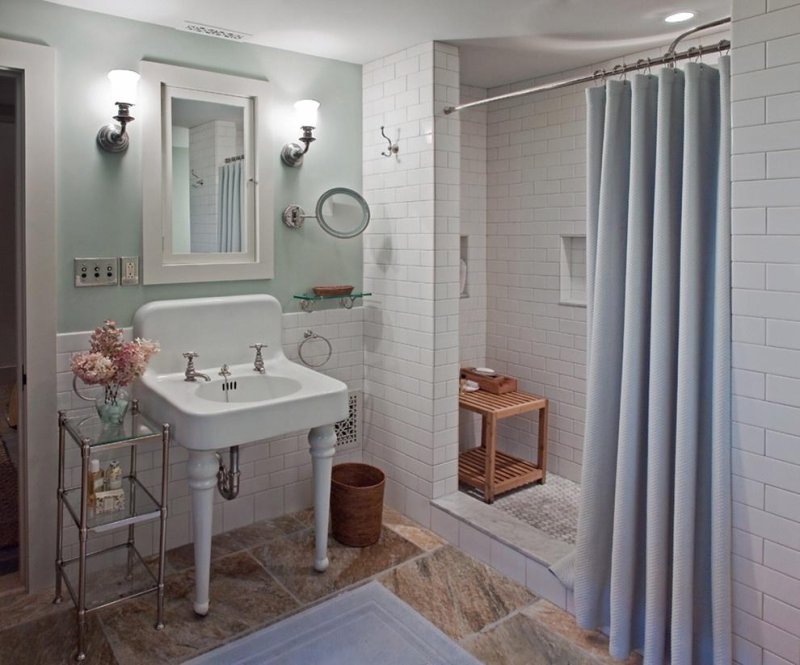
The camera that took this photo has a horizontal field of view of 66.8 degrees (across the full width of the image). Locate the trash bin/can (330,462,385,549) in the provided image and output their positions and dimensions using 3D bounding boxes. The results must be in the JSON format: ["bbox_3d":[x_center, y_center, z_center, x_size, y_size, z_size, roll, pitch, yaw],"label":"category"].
[{"bbox_3d":[-0.224,0.931,3.281,0.326,0.378,0.353,1,5,-1],"label":"trash bin/can"}]

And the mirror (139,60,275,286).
[{"bbox_3d":[-0.968,-0.783,3.047,0.713,1.037,0.241,-6,15,-25],"label":"mirror"}]

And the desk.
[{"bbox_3d":[0.557,0.685,3.851,0.591,0.571,0.609,8,12,40],"label":"desk"}]

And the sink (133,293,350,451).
[{"bbox_3d":[-0.827,0.191,2.877,0.820,0.551,0.859,-5,10,-38],"label":"sink"}]

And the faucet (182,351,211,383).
[{"bbox_3d":[-1.015,0.169,2.936,0.195,0.151,0.104,7,7,41],"label":"faucet"}]

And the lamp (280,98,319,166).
[{"bbox_3d":[-0.547,-1.080,3.291,0.221,0.349,0.262,-1,14,-8],"label":"lamp"}]

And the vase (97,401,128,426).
[{"bbox_3d":[-1.191,0.329,2.495,0.102,0.087,0.105,-4,-3,26],"label":"vase"}]

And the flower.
[{"bbox_3d":[-1.210,0.136,2.570,0.237,0.332,0.342,1,24,-10],"label":"flower"}]

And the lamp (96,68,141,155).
[{"bbox_3d":[-1.279,-0.982,2.720,0.189,0.353,0.190,-7,16,-27],"label":"lamp"}]

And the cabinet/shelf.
[{"bbox_3d":[-1.269,0.752,2.654,0.537,0.966,0.692,-8,16,-32],"label":"cabinet/shelf"}]

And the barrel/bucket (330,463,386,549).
[{"bbox_3d":[-0.228,0.936,3.296,0.325,0.377,0.353,1,5,0],"label":"barrel/bucket"}]
